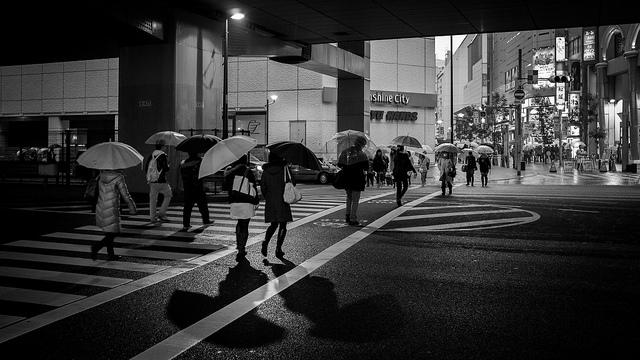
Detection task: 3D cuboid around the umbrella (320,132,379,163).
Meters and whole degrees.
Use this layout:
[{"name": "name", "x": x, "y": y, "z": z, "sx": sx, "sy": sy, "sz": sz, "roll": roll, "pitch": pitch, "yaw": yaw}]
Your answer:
[{"name": "umbrella", "x": 0.747, "y": -1.392, "z": 19.592, "sx": 1.271, "sy": 0.444, "sz": 1.313, "roll": -10, "pitch": 8, "yaw": 43}]

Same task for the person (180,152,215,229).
[{"name": "person", "x": -4.249, "y": 0.415, "z": 17.655, "sx": 0.959, "sy": 2.588, "sz": 0.935, "roll": -4, "pitch": 14, "yaw": -14}]

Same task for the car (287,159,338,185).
[{"name": "car", "x": -0.371, "y": -0.627, "z": 35.883, "sx": 3.814, "sy": 1.746, "sz": 1.808, "roll": -2, "pitch": -4, "yaw": 31}]

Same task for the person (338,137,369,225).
[{"name": "person", "x": 1.163, "y": 0.120, "z": 18.834, "sx": 0.962, "sy": 2.948, "sz": 1.434, "roll": 1, "pitch": 13, "yaw": 11}]

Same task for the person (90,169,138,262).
[{"name": "person", "x": -5.841, "y": 0.956, "z": 14.404, "sx": 1.122, "sy": 2.510, "sz": 1.169, "roll": -12, "pitch": 17, "yaw": -40}]

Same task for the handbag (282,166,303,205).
[{"name": "handbag", "x": -0.831, "y": 0.213, "z": 14.855, "sx": 0.501, "sy": 1.227, "sz": 0.930, "roll": -2, "pitch": 13, "yaw": -2}]

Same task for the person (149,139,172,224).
[{"name": "person", "x": -5.716, "y": 0.169, "z": 18.473, "sx": 0.754, "sy": 2.808, "sz": 0.737, "roll": -5, "pitch": 14, "yaw": -16}]

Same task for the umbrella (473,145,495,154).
[{"name": "umbrella", "x": 10.720, "y": -1.962, "z": 34.326, "sx": 1.243, "sy": 0.418, "sz": 1.193, "roll": -1, "pitch": 2, "yaw": -1}]

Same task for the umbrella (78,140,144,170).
[{"name": "umbrella", "x": -5.879, "y": -0.749, "z": 14.566, "sx": 1.588, "sy": 0.503, "sz": 1.573, "roll": 7, "pitch": 16, "yaw": -13}]

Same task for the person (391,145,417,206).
[{"name": "person", "x": 3.641, "y": -0.203, "z": 22.983, "sx": 0.842, "sy": 2.737, "sz": 0.951, "roll": -1, "pitch": 13, "yaw": -1}]

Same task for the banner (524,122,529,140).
[{"name": "banner", "x": 19.688, "y": -4.752, "z": 49.984, "sx": 0.431, "sy": 1.018, "sz": 2.797, "roll": 4, "pitch": 14, "yaw": 21}]

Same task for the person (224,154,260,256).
[{"name": "person", "x": -2.199, "y": 0.751, "z": 14.780, "sx": 0.852, "sy": 2.873, "sz": 0.709, "roll": -4, "pitch": 14, "yaw": -12}]

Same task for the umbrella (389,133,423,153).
[{"name": "umbrella", "x": 4.334, "y": -1.910, "z": 26.849, "sx": 1.101, "sy": 0.613, "sz": 1.041, "roll": 1, "pitch": 1, "yaw": -27}]

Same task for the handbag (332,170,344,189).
[{"name": "handbag", "x": 0.661, "y": -0.005, "z": 18.815, "sx": 0.371, "sy": 0.716, "sz": 0.489, "roll": 0, "pitch": 13, "yaw": 6}]

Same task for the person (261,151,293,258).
[{"name": "person", "x": -1.308, "y": 0.724, "z": 14.808, "sx": 0.869, "sy": 2.931, "sz": 0.759, "roll": -3, "pitch": 13, "yaw": -7}]

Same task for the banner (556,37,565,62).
[{"name": "banner", "x": 45.388, "y": -24.463, "z": 99.218, "sx": 2.219, "sy": 4.350, "sz": 1.158, "roll": -10, "pitch": 16, "yaw": -35}]

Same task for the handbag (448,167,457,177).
[{"name": "handbag", "x": 7.099, "y": -0.379, "z": 28.131, "sx": 0.388, "sy": 0.537, "sz": 0.580, "roll": 2, "pitch": -31, "yaw": 15}]
